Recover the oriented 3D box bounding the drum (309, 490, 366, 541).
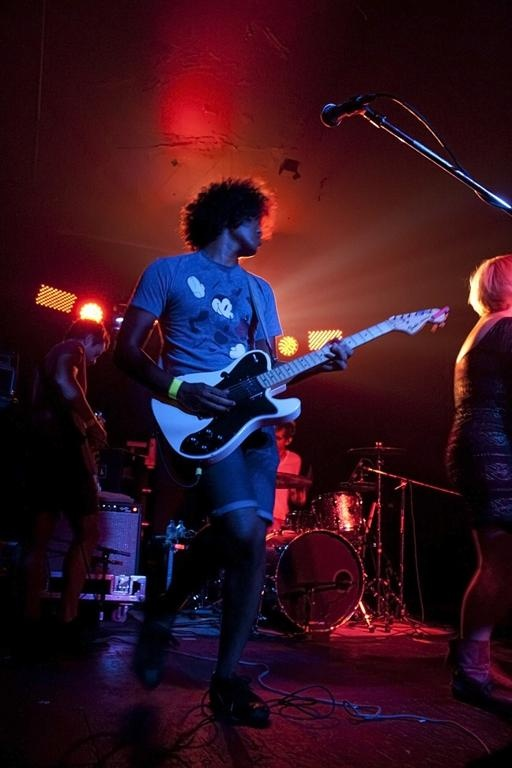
[{"bbox_3d":[0.728,1.166,5.862,0.444,0.344,0.477,1,-33,1],"label":"drum"}]

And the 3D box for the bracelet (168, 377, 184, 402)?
[{"bbox_3d":[-0.300,0.016,2.531,0.034,0.077,0.060,14,-8,-2],"label":"bracelet"}]

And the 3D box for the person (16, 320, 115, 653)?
[{"bbox_3d":[-1.233,0.456,4.252,0.550,2.141,1.091,8,-15,-12],"label":"person"}]

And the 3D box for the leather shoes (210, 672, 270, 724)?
[{"bbox_3d":[-0.055,1.134,2.329,0.137,0.069,0.183,0,14,-29],"label":"leather shoes"}]

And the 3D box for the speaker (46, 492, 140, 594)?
[{"bbox_3d":[-1.116,1.228,5.146,0.651,0.674,1.144,7,-9,-16],"label":"speaker"}]

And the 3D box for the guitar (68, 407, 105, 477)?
[{"bbox_3d":[-1.239,0.486,5.007,0.106,0.656,0.312,-5,11,-37],"label":"guitar"}]
